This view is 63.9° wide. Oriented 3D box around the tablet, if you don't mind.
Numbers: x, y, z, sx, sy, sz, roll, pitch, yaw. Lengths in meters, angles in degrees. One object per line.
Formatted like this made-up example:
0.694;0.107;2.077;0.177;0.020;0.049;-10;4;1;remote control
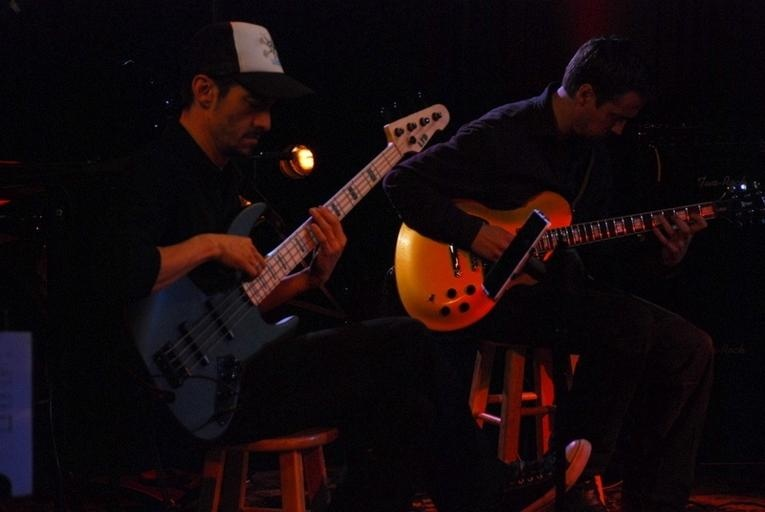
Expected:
0.681;-0.008;3.157;0.218;0.564;0.142;30;-11;48;tablet

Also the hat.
-0.576;-0.812;2.657;0.478;0.244;0.311;3;7;-5;hat
